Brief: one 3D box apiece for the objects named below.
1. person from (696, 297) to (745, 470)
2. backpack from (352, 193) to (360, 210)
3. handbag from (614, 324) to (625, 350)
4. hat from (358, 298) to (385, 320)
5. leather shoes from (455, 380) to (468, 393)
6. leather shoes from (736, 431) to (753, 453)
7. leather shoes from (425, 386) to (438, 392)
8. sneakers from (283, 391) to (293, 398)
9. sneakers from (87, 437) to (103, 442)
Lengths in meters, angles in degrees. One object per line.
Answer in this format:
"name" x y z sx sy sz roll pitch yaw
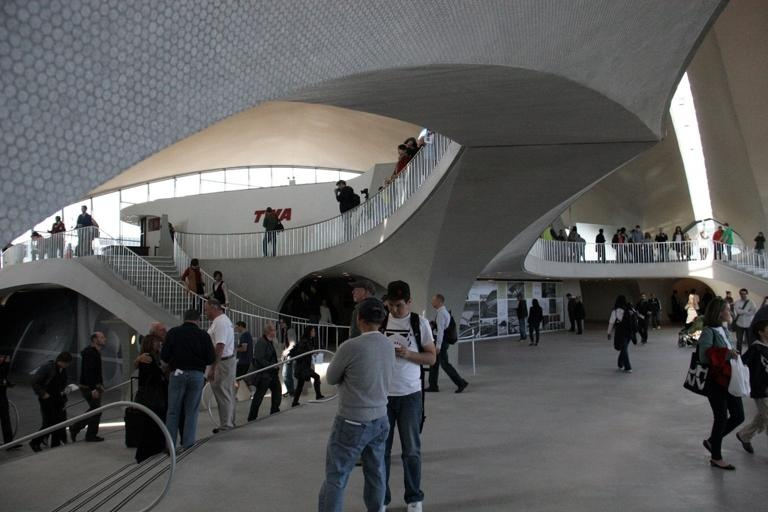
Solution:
"person" 4.203 1.595 6.743 0.473 2.100 0.520 -6 -8 30
"backpack" -0.926 -1.787 17.766 0.386 0.595 0.148 -1 3 -21
"handbag" 5.742 1.959 13.104 0.256 0.594 0.499 -6 -7 24
"hat" -0.123 0.498 5.216 0.248 0.200 0.421 10 6 -2
"leather shoes" 1.618 2.747 11.334 0.278 0.201 0.112 -39 15 18
"leather shoes" 4.845 2.498 7.234 0.098 0.309 0.125 -35 2 -40
"leather shoes" 1.025 2.825 11.420 0.292 0.136 0.111 -1 -1 23
"sneakers" -2.249 3.210 12.571 0.199 0.163 0.388 -1 -7 -17
"sneakers" -4.879 3.075 9.072 0.261 0.078 0.158 1 -8 -29
